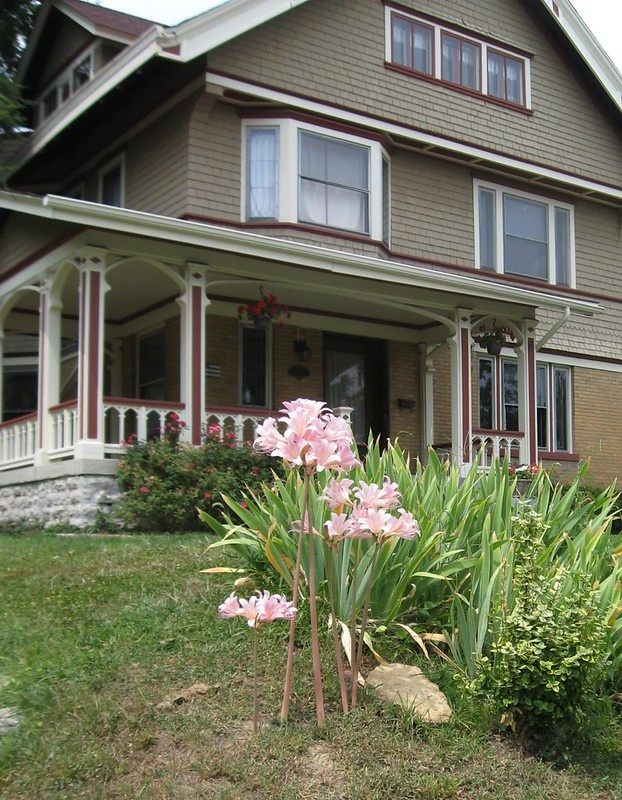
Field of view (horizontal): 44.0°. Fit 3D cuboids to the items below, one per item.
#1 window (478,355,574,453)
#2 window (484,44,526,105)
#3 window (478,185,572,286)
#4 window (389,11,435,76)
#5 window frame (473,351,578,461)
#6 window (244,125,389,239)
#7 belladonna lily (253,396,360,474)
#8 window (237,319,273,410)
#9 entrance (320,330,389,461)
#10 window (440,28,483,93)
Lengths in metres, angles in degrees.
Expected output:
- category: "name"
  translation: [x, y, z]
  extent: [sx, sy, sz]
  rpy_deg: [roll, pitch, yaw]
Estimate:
- category: "window"
  translation: [4.230, 0.058, 15.431]
  extent: [2.061, 1.507, 0.091]
  rpy_deg: [3, -5, -35]
- category: "window"
  translation: [4.034, -6.852, 16.129]
  extent: [1.428, 1.422, 0.066]
  rpy_deg: [12, -17, -36]
- category: "window"
  translation: [4.387, -3.443, 16.042]
  extent: [2.590, 1.856, 0.115]
  rpy_deg: [8, -14, -30]
- category: "window"
  translation: [1.883, -6.842, 14.671]
  extent: [1.498, 1.243, 0.063]
  rpy_deg: [7, -12, -42]
- category: "window frame"
  translation: [4.190, 0.101, 15.283]
  extent: [2.320, 1.724, 0.109]
  rpy_deg: [3, -5, -32]
- category: "window"
  translation: [-0.016, -3.573, 12.605]
  extent: [2.528, 1.497, 0.409]
  rpy_deg: [4, -10, -33]
- category: "belladonna lily"
  translation: [-0.015, 0.121, 2.464]
  extent: [0.282, 0.257, 0.327]
  rpy_deg: [1, 4, 17]
- category: "window"
  translation: [-0.950, -0.578, 12.913]
  extent: [0.542, 1.409, 0.071]
  rpy_deg: [5, 13, 18]
- category: "entrance"
  translation: [0.669, -0.048, 14.709]
  extent: [1.559, 2.901, 0.228]
  rpy_deg: [0, 30, 4]
- category: "window"
  translation: [2.961, -6.819, 15.361]
  extent: [1.584, 1.174, 0.066]
  rpy_deg: [4, -7, -44]
